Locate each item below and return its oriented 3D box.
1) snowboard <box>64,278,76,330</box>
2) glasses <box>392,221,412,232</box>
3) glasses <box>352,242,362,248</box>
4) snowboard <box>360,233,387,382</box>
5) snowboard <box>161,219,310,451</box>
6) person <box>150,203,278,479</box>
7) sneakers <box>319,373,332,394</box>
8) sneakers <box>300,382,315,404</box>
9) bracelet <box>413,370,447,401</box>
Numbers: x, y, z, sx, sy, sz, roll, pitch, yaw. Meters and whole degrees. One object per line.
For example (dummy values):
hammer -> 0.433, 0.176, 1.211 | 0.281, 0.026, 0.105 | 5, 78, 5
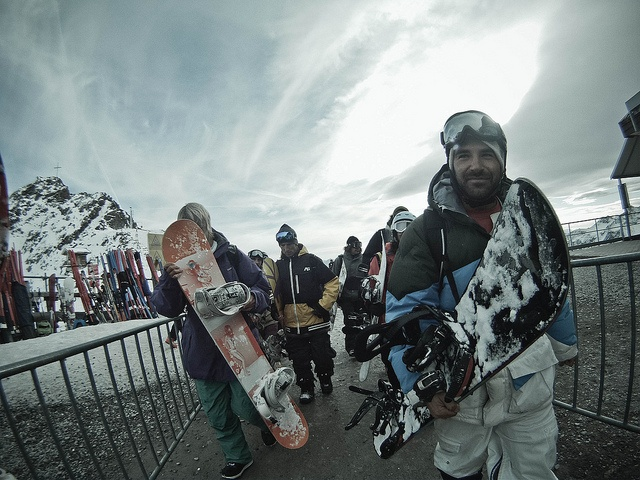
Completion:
snowboard -> -7.491, 1.827, 11.929 | 0.341, 0.316, 2.282 | 2, 23, -33
glasses -> 1.045, -0.180, 5.106 | 0.210, 0.126, 0.273 | -5, -12, -2
glasses -> 0.720, 0.077, 7.681 | 0.188, 0.176, 0.133 | 3, 3, 9
snowboard -> 0.687, 0.626, 4.978 | 0.264, 2.314, 0.253 | 4, 1, 5
snowboard -> -0.974, 1.199, 4.515 | 0.664, 2.812, 0.401 | -37, 4, -35
person -> -1.098, 1.005, 4.339 | 1.142, 2.793, 0.672 | -15, 6, -26
sneakers -> 0.083, 1.970, 5.427 | 0.108, 0.134, 0.318 | 0, 11, 3
sneakers -> -0.171, 2.027, 5.229 | 0.117, 0.223, 0.327 | -8, -20, 14
bracelet -> 0.819, 1.089, 2.985 | 0.252, 0.169, 0.075 | -33, -9, 12
